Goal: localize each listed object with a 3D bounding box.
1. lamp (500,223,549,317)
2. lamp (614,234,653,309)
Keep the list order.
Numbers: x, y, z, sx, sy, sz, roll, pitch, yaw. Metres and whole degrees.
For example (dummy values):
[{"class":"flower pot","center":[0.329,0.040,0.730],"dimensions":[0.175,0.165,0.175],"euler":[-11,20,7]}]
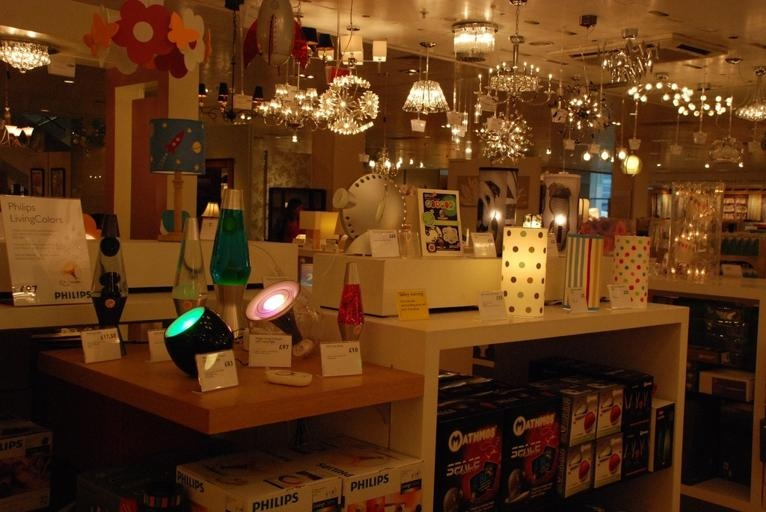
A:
[{"class":"lamp","center":[0.667,0.072,2.806],"dimensions":[0.221,0.433,0.169],"euler":[-4,2,12]},{"class":"lamp","center":[1.342,0.085,3.206],"dimensions":[0.187,0.394,0.075],"euler":[-4,2,11]}]
